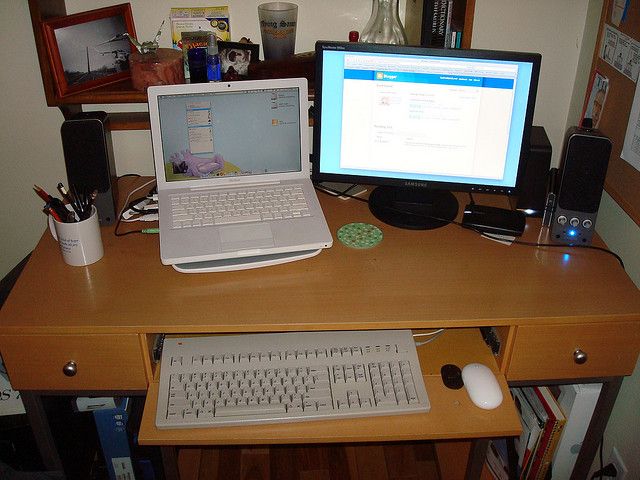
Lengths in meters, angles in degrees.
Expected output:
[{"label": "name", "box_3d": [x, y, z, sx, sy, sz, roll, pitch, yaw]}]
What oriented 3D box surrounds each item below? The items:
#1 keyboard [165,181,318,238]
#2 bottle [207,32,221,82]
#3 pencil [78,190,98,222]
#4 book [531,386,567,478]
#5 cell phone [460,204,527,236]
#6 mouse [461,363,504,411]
[{"label": "keyboard", "box_3d": [-0.232, -0.096, 1.586, 0.453, 0.050, 0.194, -8, 32, -9]}, {"label": "bottle", "box_3d": [-0.339, -0.573, 1.661, 0.041, 0.135, 0.055, -7, 30, -10]}, {"label": "pencil", "box_3d": [-0.658, -0.101, 1.512, 0.015, 0.013, 0.117, 19, 58, -1]}, {"label": "book", "box_3d": [0.672, 0.597, 1.629, 0.065, 0.217, 0.136, 7, 34, 8]}, {"label": "cell phone", "box_3d": [0.533, -0.063, 1.604, 0.164, 0.041, 0.094, 11, 47, 18]}, {"label": "mouse", "box_3d": [0.421, 0.372, 1.382, 0.110, 0.086, 0.109, 9, 34, 16]}]
